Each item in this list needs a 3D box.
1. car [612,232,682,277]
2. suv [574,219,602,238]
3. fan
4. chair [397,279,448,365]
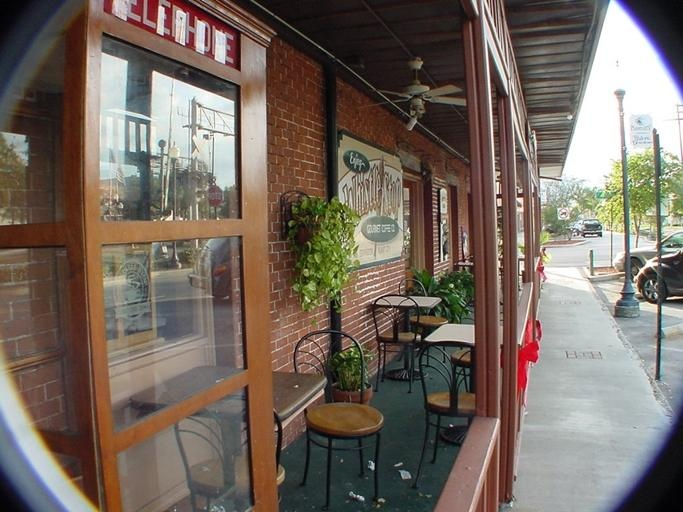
[{"bbox_3d":[6.965,-0.072,12.828,2.225,1.050,1.060,-1,1,22],"label":"car"},{"bbox_3d":[20.303,-2.173,43.345,1.412,1.196,3.463,0,7,22],"label":"suv"},{"bbox_3d":[0.757,-1.466,4.746,0.641,0.312,0.603,-4,8,-39],"label":"fan"},{"bbox_3d":[0.991,0.765,6.683,0.826,0.889,0.544,0,-2,36],"label":"chair"}]
